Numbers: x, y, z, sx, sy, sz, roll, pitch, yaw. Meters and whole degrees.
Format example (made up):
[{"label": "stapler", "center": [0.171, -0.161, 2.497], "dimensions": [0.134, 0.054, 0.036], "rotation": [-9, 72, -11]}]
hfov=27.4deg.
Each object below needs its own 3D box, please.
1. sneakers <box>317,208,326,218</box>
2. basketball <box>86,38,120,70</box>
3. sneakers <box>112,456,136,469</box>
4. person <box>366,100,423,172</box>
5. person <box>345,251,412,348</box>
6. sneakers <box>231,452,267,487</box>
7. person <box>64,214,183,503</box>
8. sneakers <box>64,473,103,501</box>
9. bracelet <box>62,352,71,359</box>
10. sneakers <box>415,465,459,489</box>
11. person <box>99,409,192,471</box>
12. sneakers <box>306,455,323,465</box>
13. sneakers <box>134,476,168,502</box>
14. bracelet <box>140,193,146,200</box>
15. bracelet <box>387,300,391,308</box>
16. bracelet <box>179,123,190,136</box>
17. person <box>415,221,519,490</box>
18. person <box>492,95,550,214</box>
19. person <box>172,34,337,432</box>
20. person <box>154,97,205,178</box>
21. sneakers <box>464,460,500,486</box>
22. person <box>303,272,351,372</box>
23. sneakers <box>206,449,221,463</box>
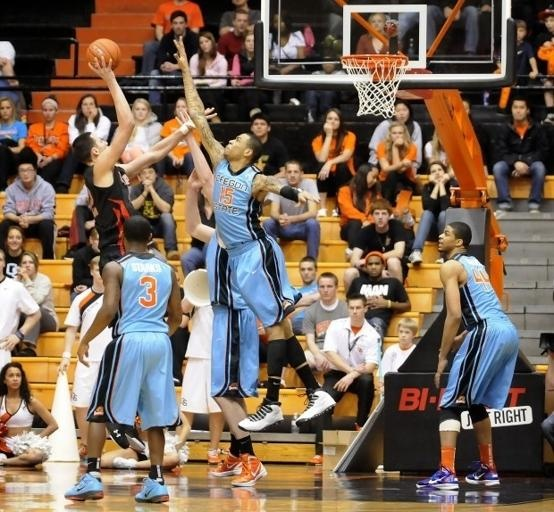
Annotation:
[{"label": "sneakers", "center": [0.569, -0.535, 14.539], "dimensions": [0.086, 0.109, 0.244], "rotation": [-1, -7, 3]}, {"label": "basketball", "center": [-1.402, -1.643, 9.168], "dimensions": [0.246, 0.264, 0.251], "rotation": [12, 5, 12]}, {"label": "sneakers", "center": [-1.370, 1.900, 10.266], "dimensions": [0.160, 0.073, 0.106], "rotation": [3, 25, -2]}, {"label": "person", "center": [1.613, -1.538, 14.798], "dimensions": [0.662, 1.049, 0.643], "rotation": [3, -11, -15]}, {"label": "person", "center": [1.017, 0.530, 12.363], "dimensions": [0.682, 1.160, 0.648], "rotation": [6, 4, 30]}, {"label": "sneakers", "center": [-0.237, 1.719, 8.966], "dimensions": [0.131, 0.228, 0.354], "rotation": [-17, -1, 34]}, {"label": "person", "center": [-1.099, 0.768, 8.264], "dimensions": [0.827, 2.079, 0.755], "rotation": [-2, 5, -6]}, {"label": "sneakers", "center": [-1.394, 1.669, 8.110], "dimensions": [0.337, 0.204, 0.132], "rotation": [-4, -13, 24]}, {"label": "bracelet", "center": [-2.004, 0.969, 10.859], "dimensions": [0.077, 0.062, 0.080], "rotation": [4, -17, -10]}, {"label": "sneakers", "center": [1.300, 1.795, 9.091], "dimensions": [0.379, 0.203, 0.143], "rotation": [-1, -6, 20]}, {"label": "person", "center": [-1.097, 1.784, 10.277], "dimensions": [0.883, 0.464, 0.666], "rotation": [4, -5, -28]}, {"label": "sneakers", "center": [0.385, 2.023, 11.101], "dimensions": [0.114, 0.050, 0.078], "rotation": [1, 2, 5]}, {"label": "sneakers", "center": [-0.920, 1.689, 8.119], "dimensions": [0.111, 0.165, 0.310], "rotation": [-4, 0, -38]}, {"label": "bracelet", "center": [-1.623, -0.718, 13.866], "dimensions": [0.058, 0.059, 0.020], "rotation": [-7, -14, 40]}, {"label": "bracelet", "center": [1.215, 0.544, 12.320], "dimensions": [0.037, 0.064, 0.065], "rotation": [-3, 15, 2]}, {"label": "bracelet", "center": [-0.748, -1.029, 9.233], "dimensions": [0.034, 0.089, 0.082], "rotation": [18, -14, -41]}, {"label": "person", "center": [1.566, 0.863, 9.244], "dimensions": [0.669, 2.195, 0.925], "rotation": [2, 6, 29]}, {"label": "person", "center": [3.131, -1.298, 14.679], "dimensions": [0.667, 1.466, 0.745], "rotation": [0, 5, 10]}, {"label": "person", "center": [-0.069, 0.214, 8.768], "dimensions": [0.877, 2.286, 0.626], "rotation": [-1, 5, 5]}, {"label": "person", "center": [-1.303, -1.429, 15.206], "dimensions": [0.521, 1.312, 0.647], "rotation": [1, 7, -4]}, {"label": "sneakers", "center": [1.682, 1.821, 9.348], "dimensions": [0.131, 0.191, 0.361], "rotation": [-1, 2, -30]}, {"label": "person", "center": [0.531, 0.720, 11.910], "dimensions": [0.536, 1.064, 0.768], "rotation": [1, -2, 14]}, {"label": "sneakers", "center": [-0.598, 1.943, 10.789], "dimensions": [0.076, 0.104, 0.227], "rotation": [6, -18, -14]}]
